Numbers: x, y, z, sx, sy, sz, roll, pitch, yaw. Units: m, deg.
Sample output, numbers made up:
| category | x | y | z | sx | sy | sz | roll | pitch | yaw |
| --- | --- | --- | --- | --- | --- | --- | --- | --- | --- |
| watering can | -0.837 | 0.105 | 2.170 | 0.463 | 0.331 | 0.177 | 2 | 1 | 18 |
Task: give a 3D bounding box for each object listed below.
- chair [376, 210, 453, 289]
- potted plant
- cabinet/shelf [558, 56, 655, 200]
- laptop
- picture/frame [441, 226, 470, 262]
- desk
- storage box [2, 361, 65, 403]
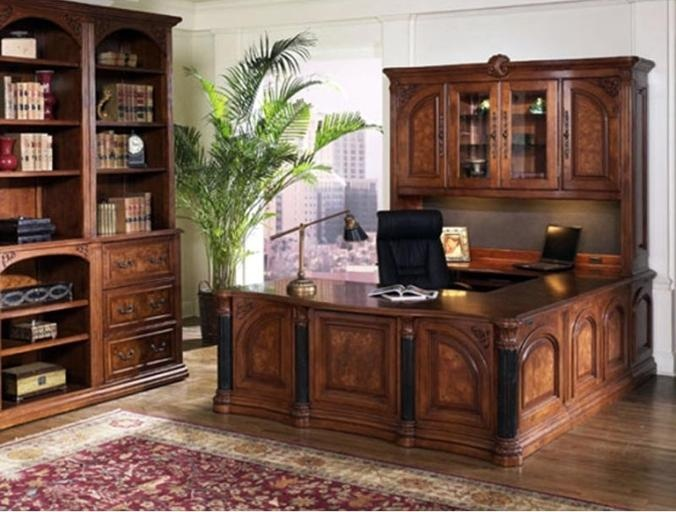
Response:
| category | x | y | z | sx | sy | sz | roll | pitch | yaw |
| --- | --- | --- | --- | --- | --- | --- | --- | --- | --- |
| chair | 0.605 | -0.070 | 4.896 | 0.551 | 0.844 | 0.719 | -2 | 5 | -15 |
| potted plant | -0.665 | -1.181 | 7.030 | 2.103 | 2.740 | 2.093 | -14 | 17 | -42 |
| cabinet/shelf | 2.506 | -1.174 | 5.228 | 0.850 | 1.185 | 0.435 | -2 | 5 | -18 |
| laptop | 2.084 | -0.102 | 5.668 | 0.550 | 0.425 | 0.502 | -3 | 8 | -30 |
| picture/frame | 1.208 | -0.111 | 5.979 | 0.396 | 0.390 | 0.035 | -2 | -4 | 3 |
| desk | 1.087 | 0.699 | 4.506 | 1.570 | 0.520 | 2.144 | 1 | 4 | 44 |
| storage box | -2.493 | 0.987 | 4.662 | 0.274 | 0.152 | 0.336 | 2 | 5 | 34 |
